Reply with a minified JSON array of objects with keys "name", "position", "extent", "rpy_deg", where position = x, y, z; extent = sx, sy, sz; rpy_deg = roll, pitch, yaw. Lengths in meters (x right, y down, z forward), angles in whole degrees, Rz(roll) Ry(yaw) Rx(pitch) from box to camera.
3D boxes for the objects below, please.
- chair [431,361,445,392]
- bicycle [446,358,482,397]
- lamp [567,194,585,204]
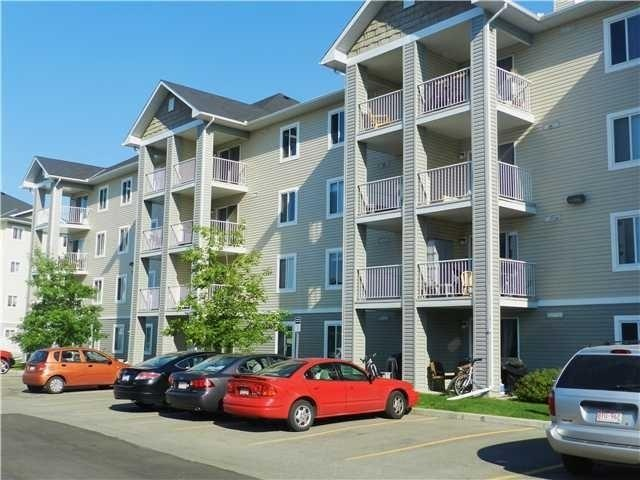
[{"name":"chair","position":[4.425,5.078,22.609],"extent":[0.503,1.031,0.780],"rpy_deg":[0,-4,16]},{"name":"bicycle","position":[5.009,4.703,20.896],"extent":[0.759,1.294,0.855],"rpy_deg":[2,-4,-3]},{"name":"lamp","position":[8.994,-1.440,21.219],"extent":[0.499,0.365,0.370],"rpy_deg":[-9,-11,42]}]
